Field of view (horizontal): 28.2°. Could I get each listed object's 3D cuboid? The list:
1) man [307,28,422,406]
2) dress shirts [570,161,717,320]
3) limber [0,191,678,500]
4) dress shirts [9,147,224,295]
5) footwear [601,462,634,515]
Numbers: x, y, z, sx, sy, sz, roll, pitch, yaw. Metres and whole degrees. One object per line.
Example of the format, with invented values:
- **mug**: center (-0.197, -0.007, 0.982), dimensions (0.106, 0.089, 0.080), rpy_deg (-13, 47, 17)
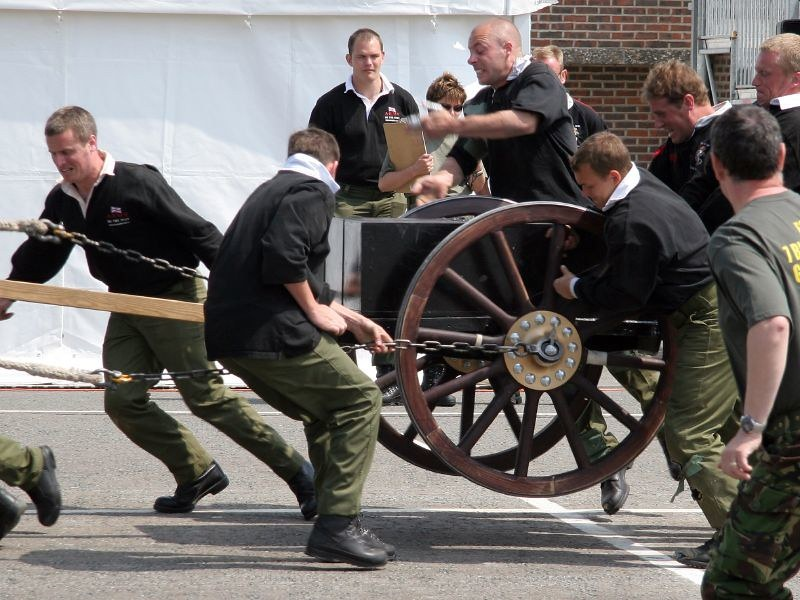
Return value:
- **man**: center (-0.129, -0.648, 11.569), dimensions (1.320, 2.567, 0.971), rpy_deg (-1, 11, -4)
- **dress shirts**: center (1.258, -0.273, 8.278), dimensions (0.746, 0.583, 0.843), rpy_deg (-7, 19, 35)
- **limber**: center (-0.431, 0.237, 8.708), dimensions (3.493, 1.096, 1.744), rpy_deg (0, 1, -14)
- **dress shirts**: center (-1.704, -0.465, 9.295), dimensions (1.437, 0.525, 0.419), rpy_deg (-7, 6, 6)
- **footwear**: center (1.270, 1.062, 9.052), dimensions (0.128, 0.149, 0.374), rpy_deg (-36, -1, 32)
